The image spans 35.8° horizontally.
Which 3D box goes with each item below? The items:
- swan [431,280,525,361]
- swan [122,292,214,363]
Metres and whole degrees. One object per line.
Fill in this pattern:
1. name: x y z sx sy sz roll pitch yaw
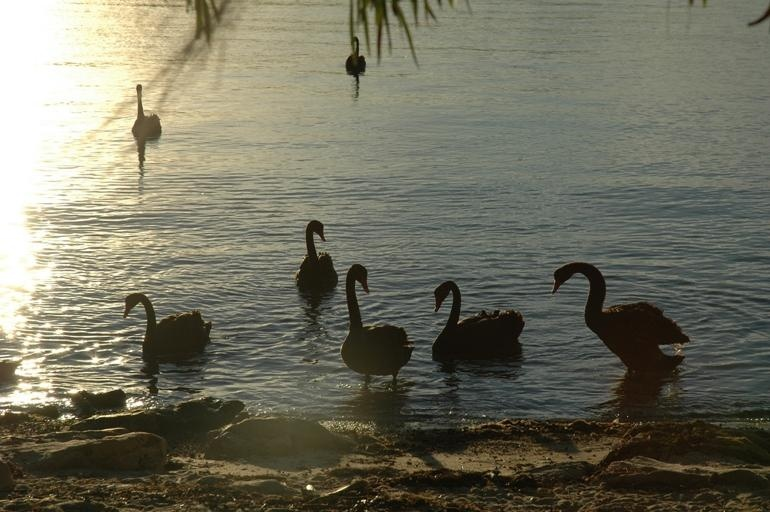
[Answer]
1. swan: 2.549 1.768 33.288 2.500 2.077 1.065 0 6 3
2. swan: -6.242 2.069 33.205 3.940 1.840 1.845 1 -12 14
